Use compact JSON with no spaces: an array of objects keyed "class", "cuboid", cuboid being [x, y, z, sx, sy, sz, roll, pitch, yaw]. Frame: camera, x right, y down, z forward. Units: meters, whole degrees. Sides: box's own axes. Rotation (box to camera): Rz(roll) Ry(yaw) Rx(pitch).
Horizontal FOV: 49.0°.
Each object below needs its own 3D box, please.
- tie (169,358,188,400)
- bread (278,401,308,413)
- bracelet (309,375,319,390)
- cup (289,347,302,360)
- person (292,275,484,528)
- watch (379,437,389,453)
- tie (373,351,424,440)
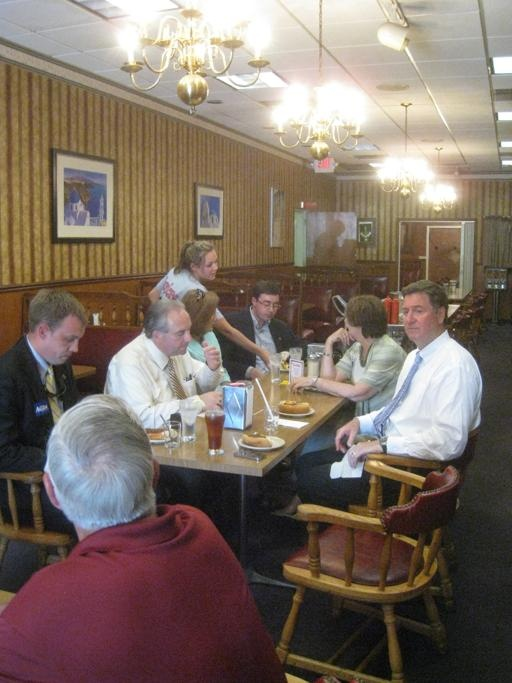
[{"class":"tie","cuboid":[-0.412,0.205,2.948,0.022,0.258,0.067,-20,42,-2]},{"class":"bread","cuboid":[0.189,0.327,2.789,0.089,0.031,0.068,3,1,19]},{"class":"bracelet","cuboid":[0.341,0.243,3.239,0.053,0.067,0.077,-1,4,19]},{"class":"cup","cuboid":[0.245,0.082,3.685,0.076,0.077,0.076,1,-1,0]},{"class":"person","cuboid":[0.613,0.185,3.203,1.108,1.657,0.951,5,13,17]},{"class":"watch","cuboid":[0.559,0.455,2.471,0.043,0.057,0.063,2,15,-2]},{"class":"tie","cuboid":[0.644,0.256,2.619,0.144,0.356,0.273,9,10,-35]}]
